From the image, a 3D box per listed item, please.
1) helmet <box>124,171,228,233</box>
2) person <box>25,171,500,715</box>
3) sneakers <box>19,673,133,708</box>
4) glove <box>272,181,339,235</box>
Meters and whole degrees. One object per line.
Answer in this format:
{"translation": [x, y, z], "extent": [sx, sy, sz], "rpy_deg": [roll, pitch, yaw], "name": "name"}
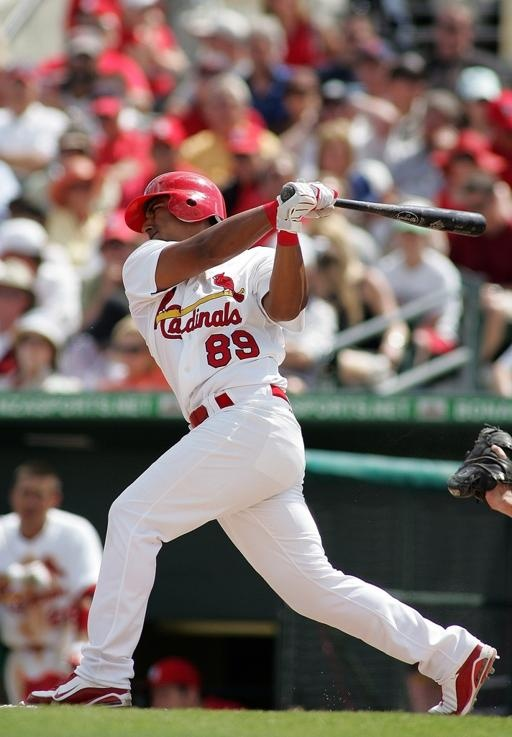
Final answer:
{"translation": [-0.210, -0.434, 2.812], "extent": [0.256, 0.149, 0.125], "rpy_deg": [3, 52, 0], "name": "helmet"}
{"translation": [-0.124, 0.231, 2.560], "extent": [1.071, 1.209, 0.961], "rpy_deg": [-13, 37, -9], "name": "person"}
{"translation": [-0.409, 0.761, 2.545], "extent": [0.294, 0.089, 0.094], "rpy_deg": [1, 73, 8], "name": "sneakers"}
{"translation": [0.111, -0.379, 2.498], "extent": [0.160, 0.068, 0.126], "rpy_deg": [-22, -2, -38], "name": "glove"}
